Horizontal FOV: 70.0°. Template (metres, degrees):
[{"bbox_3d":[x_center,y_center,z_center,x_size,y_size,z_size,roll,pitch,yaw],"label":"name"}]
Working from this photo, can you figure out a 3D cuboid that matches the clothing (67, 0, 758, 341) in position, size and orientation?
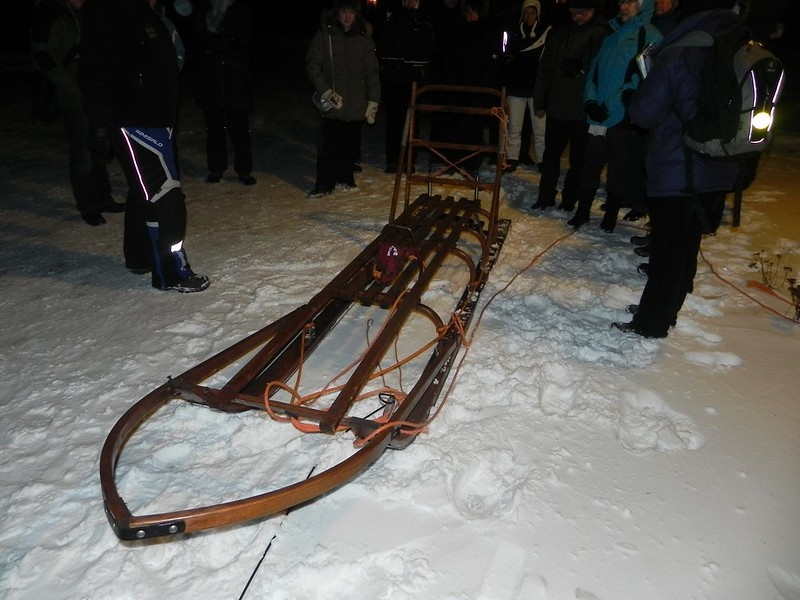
[{"bbox_3d":[-0.680,-1.363,4.508,6.000,2.180,1.652,8,28,16],"label":"clothing"}]

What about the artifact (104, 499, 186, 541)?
[{"bbox_3d":[-0.945,0.816,2.129,0.218,0.046,0.156,2,9,-16],"label":"artifact"}]
